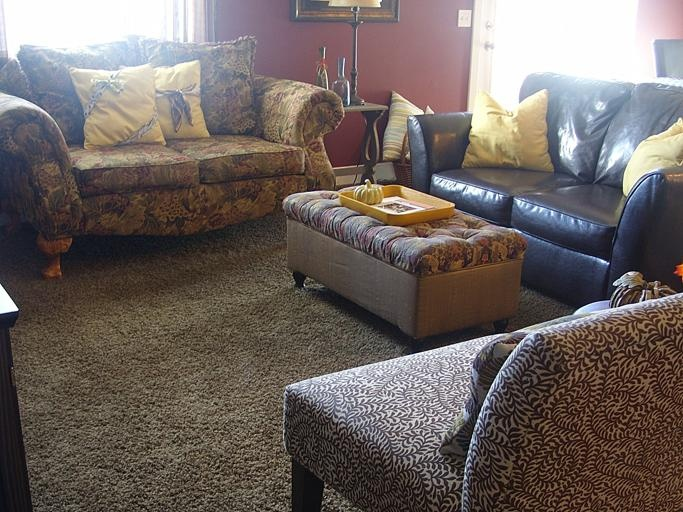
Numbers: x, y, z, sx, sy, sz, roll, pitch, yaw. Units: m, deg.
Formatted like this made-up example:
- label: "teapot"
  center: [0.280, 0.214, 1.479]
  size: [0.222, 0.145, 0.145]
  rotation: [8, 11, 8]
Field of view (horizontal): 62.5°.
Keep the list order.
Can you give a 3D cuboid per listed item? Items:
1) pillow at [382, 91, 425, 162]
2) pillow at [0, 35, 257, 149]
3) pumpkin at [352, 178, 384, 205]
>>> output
- label: "pillow"
  center: [0.450, -1.061, 4.617]
  size: [0.160, 0.506, 0.541]
  rotation: [2, 3, 28]
- label: "pillow"
  center: [-1.307, -0.974, 3.361]
  size: [0.825, 0.460, 0.218]
  rotation: [-12, -9, -22]
- label: "pumpkin"
  center: [0.133, -0.309, 2.661]
  size: [0.122, 0.113, 0.125]
  rotation: [-2, 15, -10]
